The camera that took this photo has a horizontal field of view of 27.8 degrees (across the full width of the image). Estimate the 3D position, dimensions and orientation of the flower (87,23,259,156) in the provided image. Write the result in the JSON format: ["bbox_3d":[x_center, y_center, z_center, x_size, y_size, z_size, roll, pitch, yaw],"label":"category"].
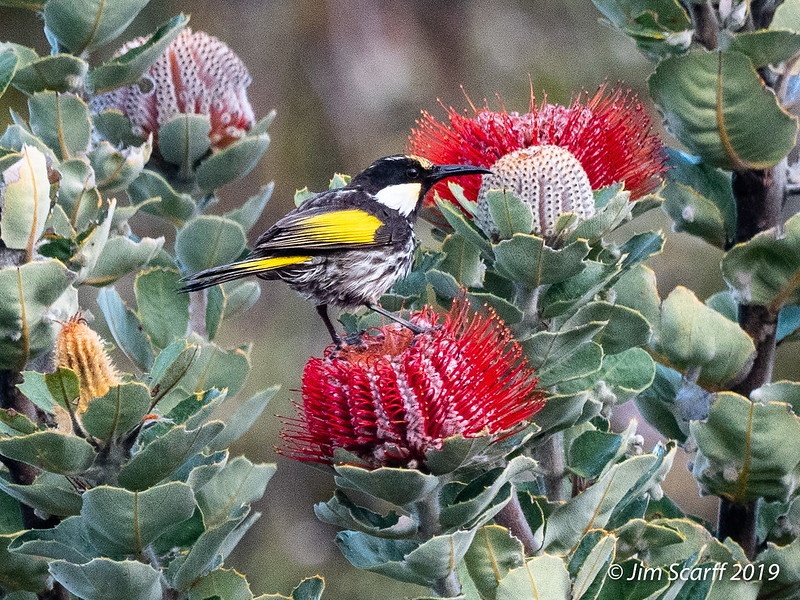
[{"bbox_3d":[-0.578,-0.560,4.336,0.355,0.326,0.328,0,7,-12],"label":"flower"}]

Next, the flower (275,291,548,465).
[{"bbox_3d":[0.050,0.212,3.784,0.440,0.228,0.450,-20,13,5],"label":"flower"}]

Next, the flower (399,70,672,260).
[{"bbox_3d":[0.372,-0.317,4.206,0.602,0.342,0.608,10,25,42],"label":"flower"}]

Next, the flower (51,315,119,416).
[{"bbox_3d":[-0.771,0.146,3.847,0.107,0.189,0.118,-1,7,-14],"label":"flower"}]
